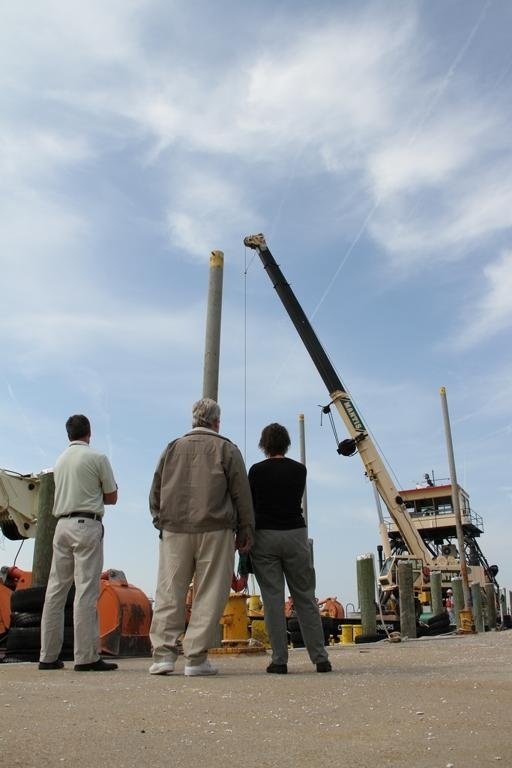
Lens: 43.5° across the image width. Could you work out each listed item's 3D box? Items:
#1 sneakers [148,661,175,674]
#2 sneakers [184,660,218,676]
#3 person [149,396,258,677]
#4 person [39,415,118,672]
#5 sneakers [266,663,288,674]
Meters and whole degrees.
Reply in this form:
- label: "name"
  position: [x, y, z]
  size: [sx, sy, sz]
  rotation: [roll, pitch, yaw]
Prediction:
- label: "sneakers"
  position: [-0.621, 1.861, 4.198]
  size: [0.071, 0.084, 0.193]
  rotation: [21, -31, -30]
- label: "sneakers"
  position: [-0.354, 1.848, 4.194]
  size: [0.089, 0.102, 0.237]
  rotation: [-8, -15, 41]
- label: "person"
  position: [-0.367, 0.978, 4.379]
  size: [0.722, 1.881, 0.450]
  rotation: [0, -16, -7]
- label: "person"
  position: [-1.378, 1.206, 5.051]
  size: [0.618, 1.959, 0.355]
  rotation: [-10, -18, 27]
- label: "sneakers"
  position: [0.154, 1.954, 4.418]
  size: [0.063, 0.069, 0.159]
  rotation: [8, -18, -16]
